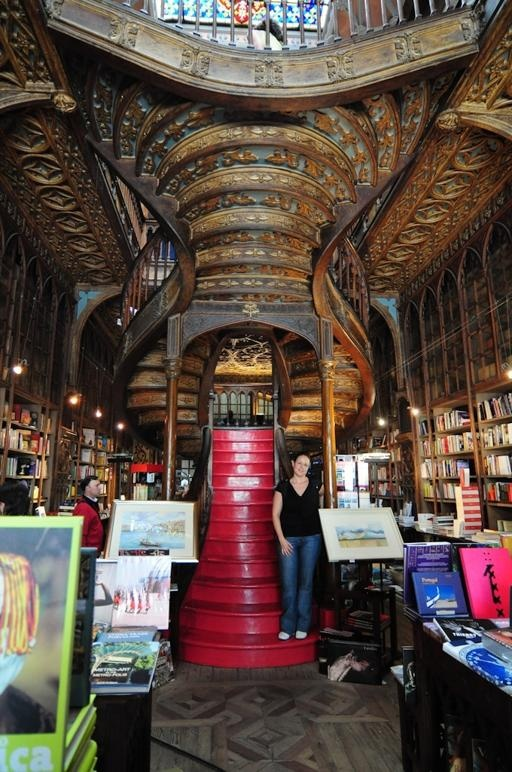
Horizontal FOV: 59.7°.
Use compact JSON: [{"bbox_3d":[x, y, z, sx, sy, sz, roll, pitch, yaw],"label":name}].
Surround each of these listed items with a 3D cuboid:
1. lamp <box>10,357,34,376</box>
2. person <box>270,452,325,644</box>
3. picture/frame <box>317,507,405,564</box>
[{"bbox_3d":[-3.082,-0.253,5.848,0.222,0.254,0.426,5,11,-12],"label":"lamp"},{"bbox_3d":[0.335,1.315,3.546,0.386,1.284,0.310,-1,-14,-1],"label":"person"},{"bbox_3d":[0.807,1.139,3.423,0.608,0.385,0.407,-3,-14,7],"label":"picture/frame"}]
